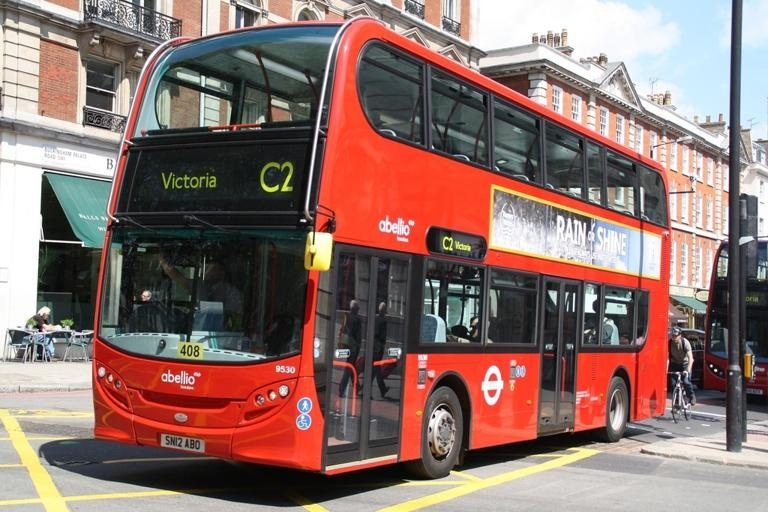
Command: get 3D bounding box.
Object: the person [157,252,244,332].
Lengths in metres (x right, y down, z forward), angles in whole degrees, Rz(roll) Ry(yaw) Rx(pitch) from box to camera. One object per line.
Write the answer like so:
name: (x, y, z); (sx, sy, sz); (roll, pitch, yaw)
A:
person: (-2.676, 0.478, 11.720); (1.209, 1.268, 0.722); (10, 8, -10)

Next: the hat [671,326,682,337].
hat: (8.340, 2.157, 23.412); (0.290, 0.315, 0.239); (21, -8, -18)

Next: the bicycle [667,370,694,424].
bicycle: (8.050, 3.832, 22.391); (0.470, 1.290, 1.182); (3, -1, 20)

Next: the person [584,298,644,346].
person: (4.783, 1.492, 17.497); (0.646, 0.964, 1.835); (-6, -13, 38)

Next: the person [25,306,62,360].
person: (-10.892, 2.483, 26.422); (1.011, 1.785, 0.555); (3, 0, -17)

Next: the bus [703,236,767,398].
bus: (12.148, 1.995, 28.296); (1.756, 5.291, 2.567); (3, -1, 14)
